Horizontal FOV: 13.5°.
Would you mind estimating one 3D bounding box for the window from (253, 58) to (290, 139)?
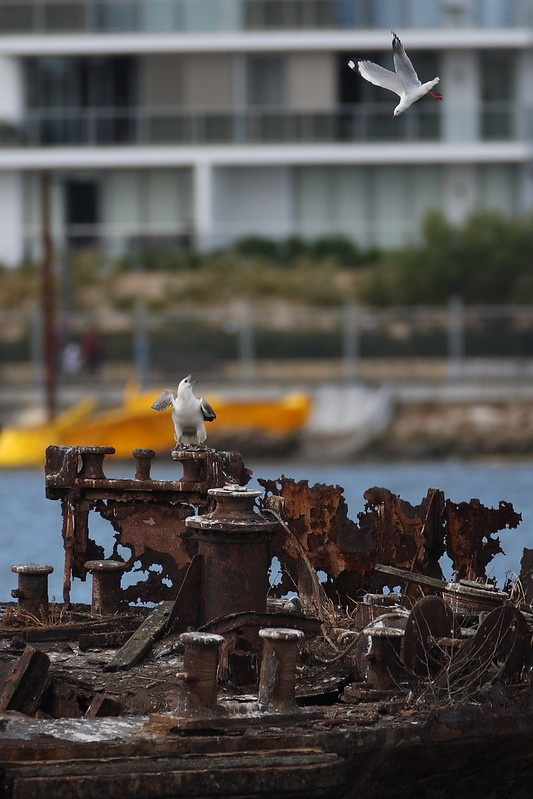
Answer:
[{"bbox_3d":[-0.027,-5.876,44.344,0.801,2.116,0.222,-1,-26,2],"label":"window"}]

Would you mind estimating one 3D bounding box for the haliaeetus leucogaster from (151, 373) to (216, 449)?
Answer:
[{"bbox_3d":[-0.799,0.108,22.390,0.402,0.698,0.652,-5,4,-36],"label":"haliaeetus leucogaster"}]
